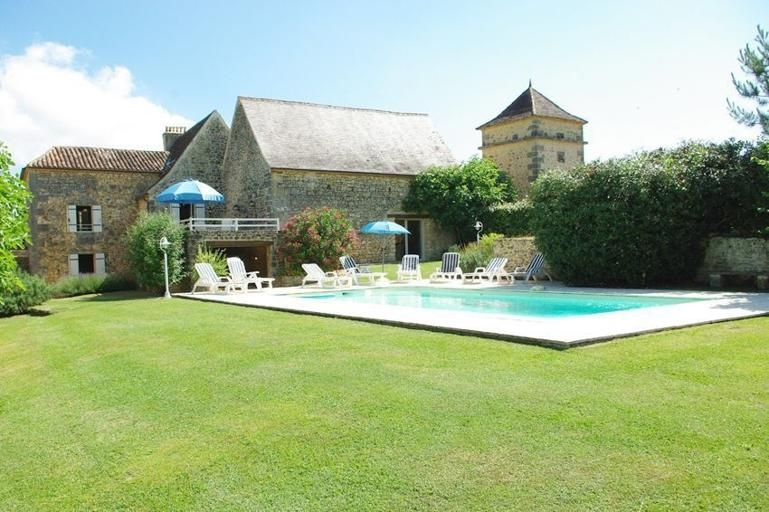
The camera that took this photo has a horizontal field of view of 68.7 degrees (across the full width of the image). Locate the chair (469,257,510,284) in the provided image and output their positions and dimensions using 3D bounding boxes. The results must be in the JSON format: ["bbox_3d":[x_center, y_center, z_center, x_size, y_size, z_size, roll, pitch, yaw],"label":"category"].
[{"bbox_3d":[3.944,0.509,20.612,0.821,0.772,1.472,-4,-5,42],"label":"chair"}]

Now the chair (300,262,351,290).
[{"bbox_3d":[-2.224,0.736,20.519,1.696,0.885,0.938,-4,-4,40],"label":"chair"}]

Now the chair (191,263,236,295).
[{"bbox_3d":[-5.892,0.723,19.257,1.299,1.009,2.137,-3,3,-18],"label":"chair"}]

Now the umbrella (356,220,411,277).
[{"bbox_3d":[0.057,-0.381,22.980,2.113,2.181,2.133,1,0,-16],"label":"umbrella"}]

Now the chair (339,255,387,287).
[{"bbox_3d":[-0.818,0.589,21.507,1.580,1.055,1.047,0,1,39],"label":"chair"}]

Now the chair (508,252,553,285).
[{"bbox_3d":[5.281,0.381,20.173,1.259,1.002,1.680,0,3,26],"label":"chair"}]

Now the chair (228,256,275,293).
[{"bbox_3d":[-5.012,0.653,19.779,1.815,1.274,1.129,-1,1,23],"label":"chair"}]

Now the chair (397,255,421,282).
[{"bbox_3d":[0.962,0.494,22.110,0.782,0.931,1.083,0,2,13],"label":"chair"}]
